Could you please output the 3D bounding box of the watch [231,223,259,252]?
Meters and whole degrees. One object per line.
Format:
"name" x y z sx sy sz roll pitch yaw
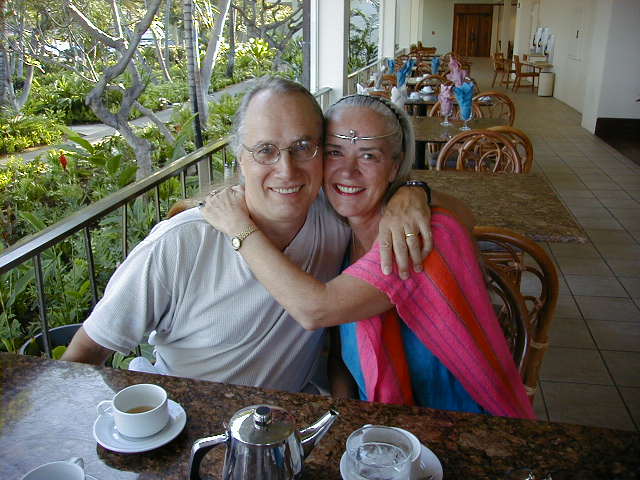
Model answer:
"watch" -0.204 -0.001 1.291 0.056 0.065 0.064 35 -20 0

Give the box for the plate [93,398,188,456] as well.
"plate" -0.368 0.375 0.967 0.181 0.023 0.184 -6 14 -37

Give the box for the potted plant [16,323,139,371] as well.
"potted plant" -1.117 0.459 2.063 0.227 0.175 0.213 -6 -1 -21

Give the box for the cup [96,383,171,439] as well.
"cup" -0.376 0.338 0.943 0.125 0.059 0.095 4 19 -9

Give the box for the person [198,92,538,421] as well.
"person" 0.184 0.142 1.481 0.778 1.107 0.654 -3 21 19

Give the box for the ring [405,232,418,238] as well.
"ring" 0.237 -0.015 1.228 0.032 0.010 0.014 0 18 0
